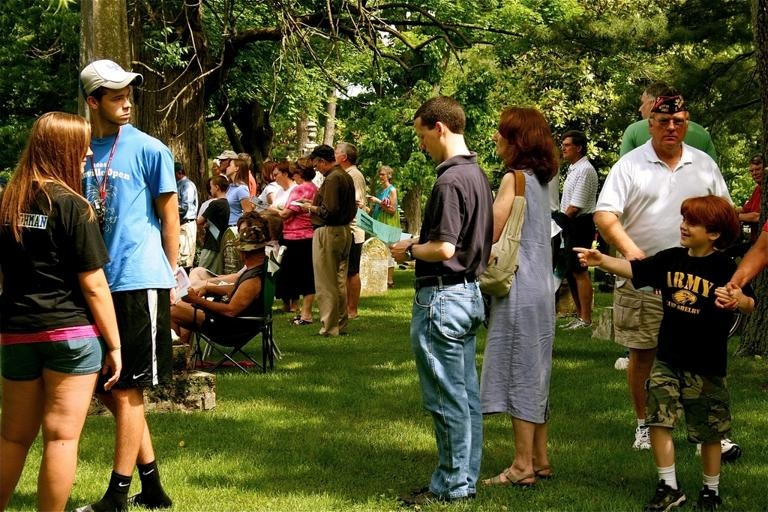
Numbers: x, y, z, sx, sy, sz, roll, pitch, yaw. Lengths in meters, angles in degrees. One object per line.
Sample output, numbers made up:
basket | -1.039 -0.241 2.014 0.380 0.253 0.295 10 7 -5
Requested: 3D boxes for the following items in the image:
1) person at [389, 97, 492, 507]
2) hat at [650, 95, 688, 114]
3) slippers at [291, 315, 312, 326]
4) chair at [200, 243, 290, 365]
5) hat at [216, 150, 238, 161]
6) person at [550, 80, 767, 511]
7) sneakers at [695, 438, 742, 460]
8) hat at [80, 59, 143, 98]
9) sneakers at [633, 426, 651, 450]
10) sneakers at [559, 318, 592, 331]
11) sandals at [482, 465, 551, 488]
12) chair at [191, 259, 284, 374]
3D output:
person | 0.592 0.398 10.538 0.759 3.534 0.399 3 0 -9
hat | 2.671 -1.399 11.211 0.306 0.171 0.204 3 1 9
slippers | -1.181 0.933 17.545 0.225 0.070 0.127 9 -10 -37
chair | -1.726 0.616 14.348 0.990 1.413 0.843 3 0 -12
hat | -2.482 -1.650 19.934 0.456 0.167 0.295 -1 2 -37
person | 2.550 0.155 11.325 1.198 3.801 0.818 3 0 -10
sneakers | 3.228 1.828 11.551 0.215 0.267 0.558 -1 -6 -25
hat | -2.360 -1.556 10.465 0.471 0.221 0.296 -14 15 11
sneakers | 2.530 1.759 11.694 0.132 0.129 0.297 0 -8 8
sneakers | 2.696 0.942 16.699 0.464 0.172 0.161 -3 1 3
sandals | 1.238 1.968 10.948 0.570 0.155 0.219 1 -7 5
chair | -1.815 0.789 14.448 1.187 1.359 1.019 -1 3 -12
